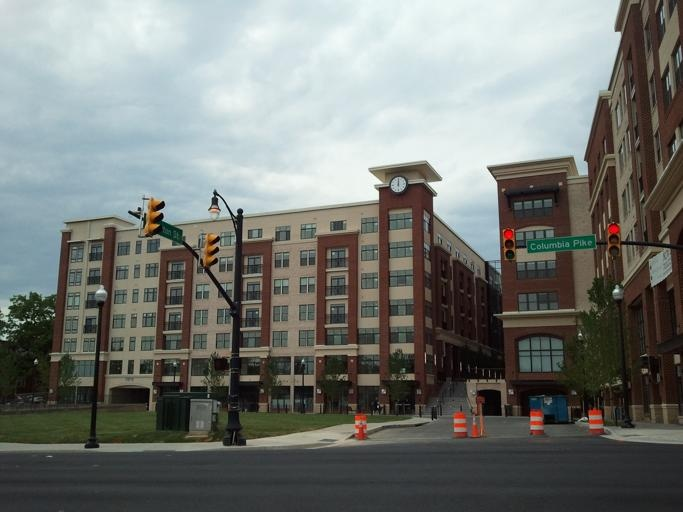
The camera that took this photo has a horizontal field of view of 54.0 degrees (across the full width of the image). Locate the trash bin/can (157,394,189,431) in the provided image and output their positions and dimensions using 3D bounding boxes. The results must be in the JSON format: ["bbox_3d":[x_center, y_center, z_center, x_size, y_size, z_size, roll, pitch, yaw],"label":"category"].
[{"bbox_3d":[-7.872,7.349,31.425,1.626,1.548,1.623,-1,-5,3],"label":"trash bin/can"}]
